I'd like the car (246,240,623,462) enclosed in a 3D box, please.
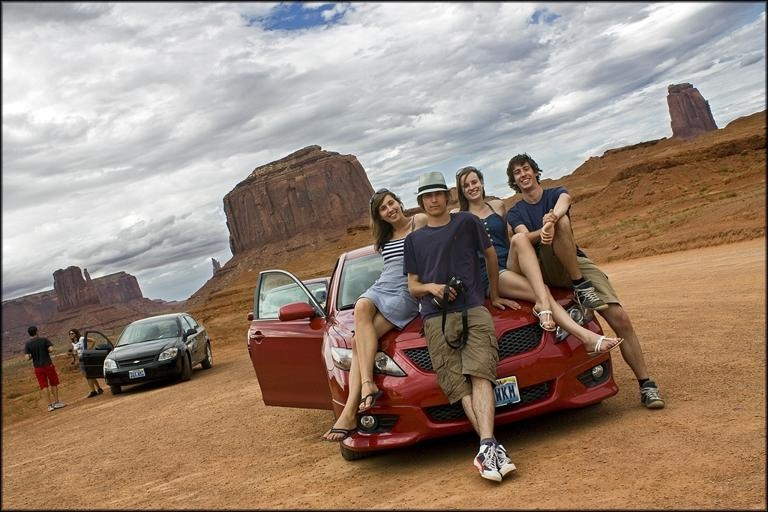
[{"bbox_3d":[-0.125,1.217,5.119,2.954,1.354,3.759,-5,-6,-23],"label":"car"}]

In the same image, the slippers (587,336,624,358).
[{"bbox_3d":[2.195,0.920,3.913,0.355,0.112,0.193,-12,8,25],"label":"slippers"}]

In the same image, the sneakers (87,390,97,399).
[{"bbox_3d":[-10.263,4.888,13.690,0.223,0.183,0.476,-2,-7,5],"label":"sneakers"}]

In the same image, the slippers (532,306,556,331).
[{"bbox_3d":[1.653,0.648,3.971,0.202,0.285,0.242,-14,-3,19],"label":"slippers"}]

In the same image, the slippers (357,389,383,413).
[{"bbox_3d":[-0.116,1.415,3.849,0.270,0.091,0.169,-32,-4,-44],"label":"slippers"}]

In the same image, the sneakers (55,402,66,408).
[{"bbox_3d":[-11.028,5.095,13.208,0.392,0.239,0.125,1,-8,-2],"label":"sneakers"}]

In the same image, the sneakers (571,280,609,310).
[{"bbox_3d":[2.220,0.414,4.254,0.204,0.209,0.476,-15,19,-35],"label":"sneakers"}]

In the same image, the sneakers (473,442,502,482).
[{"bbox_3d":[0.877,1.744,3.278,0.202,0.305,0.194,-13,-3,8],"label":"sneakers"}]

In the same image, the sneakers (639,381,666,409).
[{"bbox_3d":[2.882,1.494,4.189,0.213,0.342,0.254,-15,-4,29],"label":"sneakers"}]

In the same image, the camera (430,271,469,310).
[{"bbox_3d":[0.693,0.370,4.013,0.400,0.239,0.153,-36,-1,-3],"label":"camera"}]

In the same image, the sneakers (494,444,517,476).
[{"bbox_3d":[1.009,1.766,3.353,0.119,0.150,0.351,-28,-13,-2],"label":"sneakers"}]
